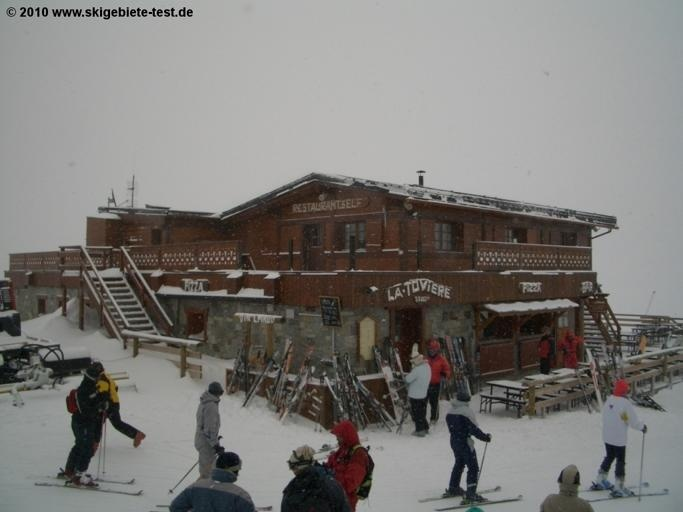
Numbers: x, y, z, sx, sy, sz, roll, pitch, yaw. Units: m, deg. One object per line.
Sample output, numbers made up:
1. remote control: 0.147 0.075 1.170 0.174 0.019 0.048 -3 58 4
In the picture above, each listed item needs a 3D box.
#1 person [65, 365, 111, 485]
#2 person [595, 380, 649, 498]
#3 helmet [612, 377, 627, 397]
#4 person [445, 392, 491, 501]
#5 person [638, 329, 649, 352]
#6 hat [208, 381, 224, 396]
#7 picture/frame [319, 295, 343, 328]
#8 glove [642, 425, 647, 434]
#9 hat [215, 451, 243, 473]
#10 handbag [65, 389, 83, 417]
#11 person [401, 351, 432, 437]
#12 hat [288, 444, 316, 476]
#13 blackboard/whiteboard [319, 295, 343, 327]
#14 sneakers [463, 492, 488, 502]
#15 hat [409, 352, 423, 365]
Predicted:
1. person: -6.034 3.990 16.315 0.869 2.846 0.524 2 -5 -22
2. person: 6.841 4.554 17.077 0.899 2.896 0.885 1 -4 -5
3. helmet: 6.954 3.311 17.197 0.390 0.441 0.374 -5 9 -26
4. person: 2.963 4.561 16.439 0.906 2.641 0.817 0 -5 9
5. person: 14.223 4.055 32.415 0.649 0.934 0.655 6 -9 -44
6. hat: -2.908 3.120 15.951 0.331 0.339 0.261 3 -6 -32
7. picture/frame: -0.290 1.745 21.313 0.885 1.146 0.091 4 4 41
8. glove: 7.419 4.278 16.821 0.086 0.324 0.213 0 -2 22
9. hat: -2.172 3.980 13.227 0.425 0.422 0.337 -6 1 -10
10. handbag: -6.409 3.520 16.448 0.372 0.563 0.549 2 -16 -19
11. person: 2.252 4.029 20.078 0.731 2.436 0.870 0 -5 9
12. hat: -0.741 3.989 13.362 0.413 0.506 0.571 -13 -10 23
13. blackboard/whiteboard: -0.286 1.725 21.307 0.846 1.096 0.074 4 5 41
14. sneakers: 3.131 5.790 16.288 0.610 0.295 0.221 -1 -4 -3
15. hat: 2.203 3.022 20.062 0.266 0.287 0.365 -3 -12 -8
